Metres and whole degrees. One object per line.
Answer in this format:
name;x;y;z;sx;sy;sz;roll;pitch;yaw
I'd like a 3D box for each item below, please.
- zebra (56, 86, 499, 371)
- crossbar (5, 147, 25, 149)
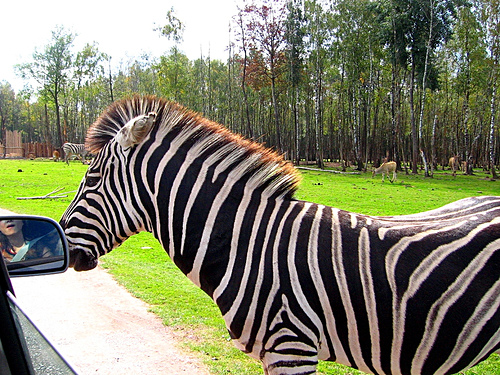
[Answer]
zebra;0.233;0.287;3.180;3.008;1.959;0.721;2;8;14
crossbar;-25.056;-4.218;46.915;0.831;0.265;2.596;1;8;3
